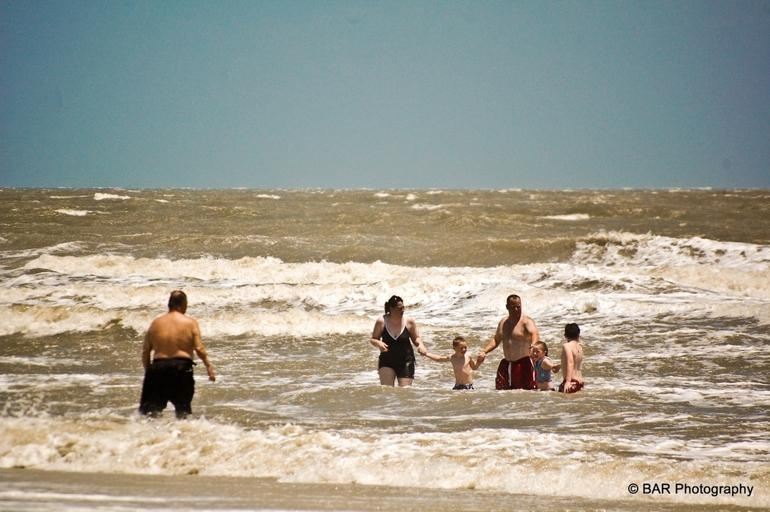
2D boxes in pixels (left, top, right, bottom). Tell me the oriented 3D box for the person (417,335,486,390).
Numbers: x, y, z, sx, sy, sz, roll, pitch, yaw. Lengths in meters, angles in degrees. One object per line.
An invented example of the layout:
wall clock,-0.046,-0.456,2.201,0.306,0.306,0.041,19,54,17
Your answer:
person,1.270,2.084,14.325,1.512,1.135,0.445,-5,-2,-2

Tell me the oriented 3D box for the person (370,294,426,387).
person,0.206,1.542,14.334,0.893,1.698,0.677,0,11,1

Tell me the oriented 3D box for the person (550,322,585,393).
person,3.252,1.767,14.219,0.440,1.193,0.661,2,11,13
